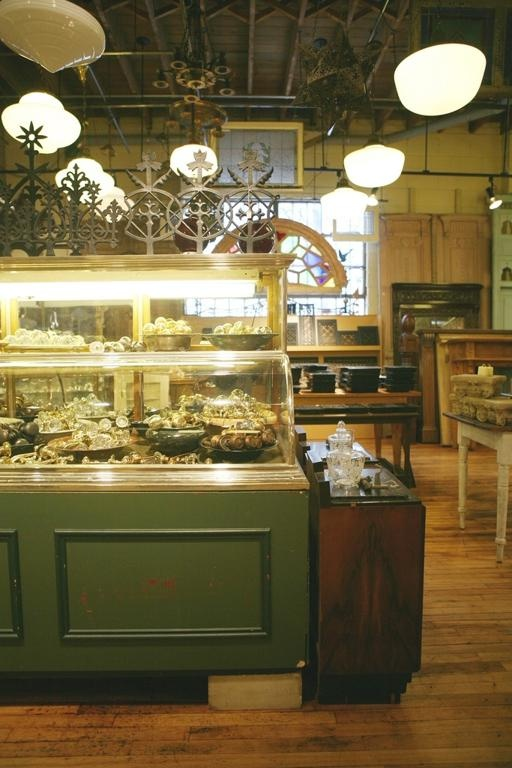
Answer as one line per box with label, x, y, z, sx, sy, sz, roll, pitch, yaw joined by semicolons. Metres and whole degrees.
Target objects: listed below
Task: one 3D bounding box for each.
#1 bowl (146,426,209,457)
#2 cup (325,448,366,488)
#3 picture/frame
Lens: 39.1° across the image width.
bowl;-0.333;0.237;3.062;0.153;0.072;0.152;-2;0;0
cup;0.367;0.338;2.993;0.157;0.162;0.157;-1;0;0
picture/frame;0.034;-2.371;7.473;0.858;0.648;0.260;-1;15;-3
